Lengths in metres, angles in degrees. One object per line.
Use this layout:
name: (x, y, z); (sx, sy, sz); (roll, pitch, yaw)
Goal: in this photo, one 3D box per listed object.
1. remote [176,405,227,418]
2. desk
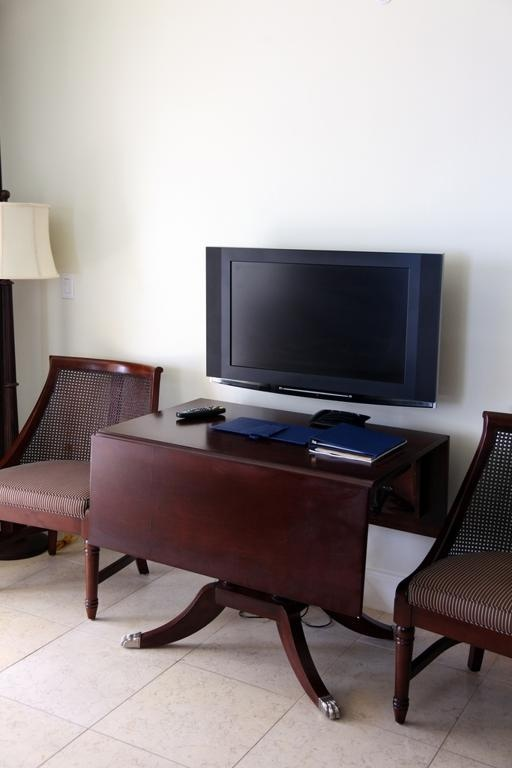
remote: (-0.171, 0.079, 1.955); (0.175, 0.048, 0.054); (-5, 12, -33)
desk: (0.037, 0.464, 1.742); (0.900, 0.631, 0.599); (2, 7, 27)
